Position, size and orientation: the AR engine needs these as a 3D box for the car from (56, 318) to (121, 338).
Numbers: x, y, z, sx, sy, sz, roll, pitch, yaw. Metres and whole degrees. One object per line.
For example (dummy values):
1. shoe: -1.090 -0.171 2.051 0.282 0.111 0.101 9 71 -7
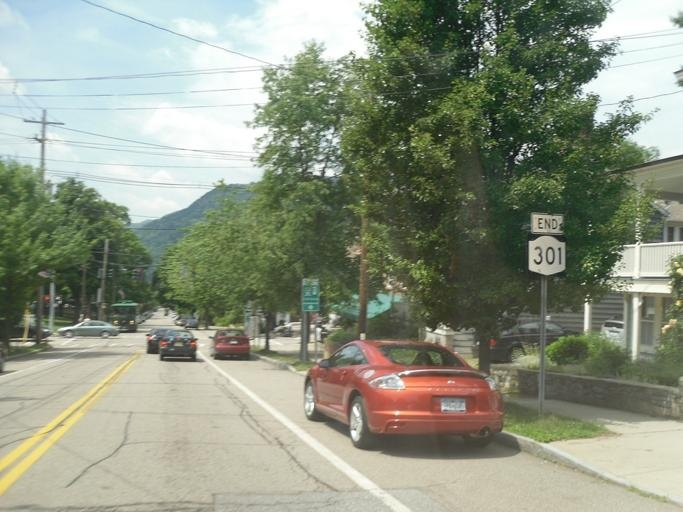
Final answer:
1. car: -20.164 5.781 63.165 4.150 1.289 2.120 2 -7 -3

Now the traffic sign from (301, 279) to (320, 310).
1. traffic sign: -1.234 1.565 31.662 0.671 1.282 0.600 2 -7 5

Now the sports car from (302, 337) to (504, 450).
1. sports car: 1.060 2.612 15.244 2.049 1.988 3.262 7 -8 -36

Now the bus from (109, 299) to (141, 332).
1. bus: -21.230 5.774 78.025 3.575 3.158 4.963 0 0 -7
